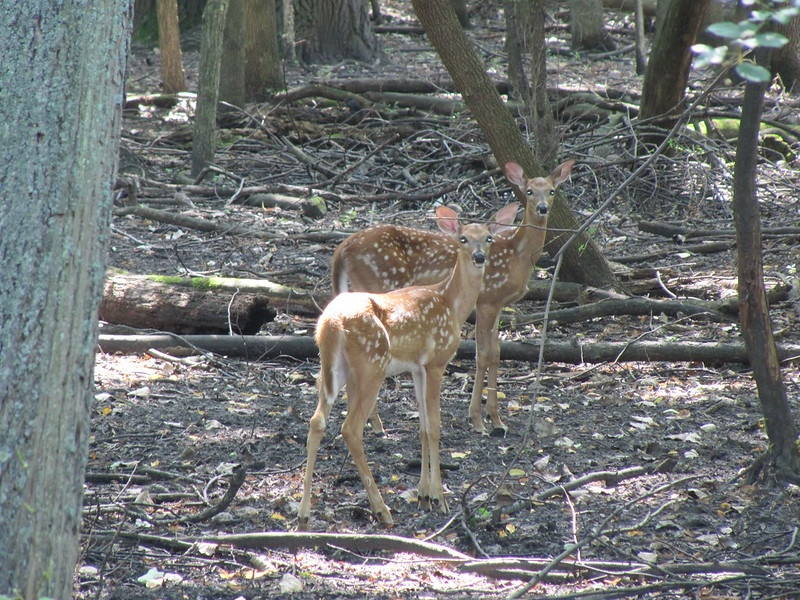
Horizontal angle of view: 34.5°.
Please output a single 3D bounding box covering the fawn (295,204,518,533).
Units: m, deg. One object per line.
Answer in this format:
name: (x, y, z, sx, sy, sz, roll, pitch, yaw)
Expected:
fawn: (0.012, 0.455, 9.495, 0.887, 2.156, 1.944, 7, 11, 32)
